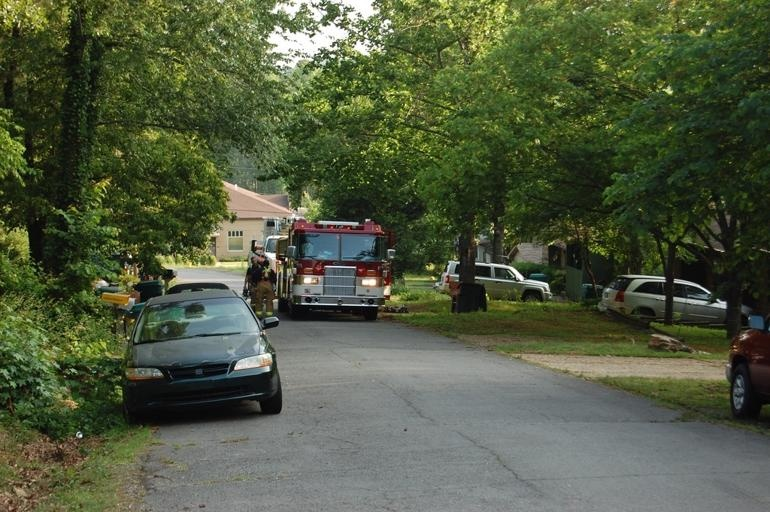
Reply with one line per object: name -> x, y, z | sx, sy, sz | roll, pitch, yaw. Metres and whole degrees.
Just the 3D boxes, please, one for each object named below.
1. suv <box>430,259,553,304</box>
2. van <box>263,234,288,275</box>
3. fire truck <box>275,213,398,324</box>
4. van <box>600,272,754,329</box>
suv -> 6.170, 1.335, 42.583 | 5.823, 2.022, 3.311 | 1, 2, 7
van -> -6.365, -0.220, 43.602 | 2.030, 1.716, 3.182 | 0, 0, -8
fire truck -> -2.317, 0.370, 31.690 | 3.831, 3.333, 7.242 | 1, 2, -13
van -> 12.110, 2.002, 32.729 | 6.280, 2.231, 2.498 | 1, 4, -9
